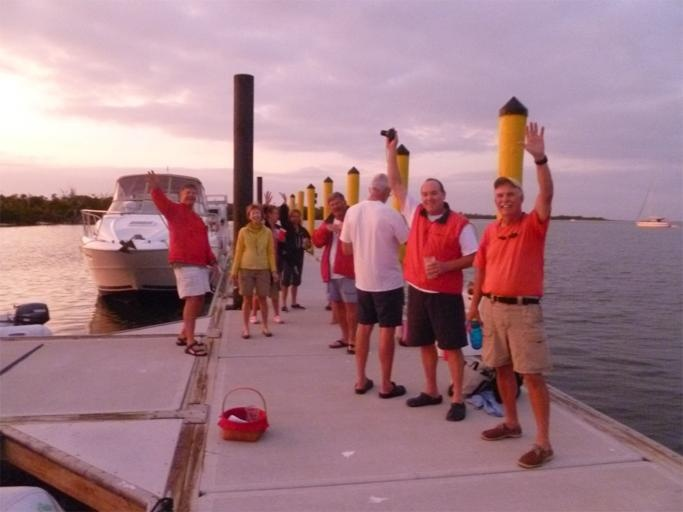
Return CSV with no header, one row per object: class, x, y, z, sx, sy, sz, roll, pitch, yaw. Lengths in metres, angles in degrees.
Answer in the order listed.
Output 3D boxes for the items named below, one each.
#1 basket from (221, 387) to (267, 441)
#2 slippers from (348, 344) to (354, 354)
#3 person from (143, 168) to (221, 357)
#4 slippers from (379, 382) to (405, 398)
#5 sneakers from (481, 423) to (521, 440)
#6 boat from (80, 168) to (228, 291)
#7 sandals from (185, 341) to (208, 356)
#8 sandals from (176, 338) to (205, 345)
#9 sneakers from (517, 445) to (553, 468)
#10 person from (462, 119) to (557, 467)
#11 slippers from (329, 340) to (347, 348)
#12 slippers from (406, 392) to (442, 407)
basket,-0.867,1.373,5.160,0.439,0.423,0.442,5,4,8
slippers,0.106,1.125,7.082,0.089,0.102,0.271,-1,-4,0
person,-1.867,0.056,6.992,0.690,2.104,0.602,3,10,8
slippers,0.500,1.329,5.869,0.229,0.107,0.127,-3,2,-27
sneakers,1.382,1.531,5.143,0.362,0.151,0.134,1,-6,-5
boat,-4.866,-0.816,16.099,3.031,2.721,7.375,-1,5,-5
sandals,-1.740,1.091,6.939,0.256,0.098,0.159,-1,0,41
sandals,-1.894,1.055,7.195,0.305,0.085,0.127,-3,-4,21
sneakers,1.546,1.610,4.724,0.325,0.125,0.121,-4,-11,-28
person,1.447,0.282,4.832,0.778,2.719,0.915,4,10,13
slippers,-0.058,1.101,7.369,0.204,0.084,0.088,3,-4,-18
slippers,0.792,1.401,5.723,0.340,0.132,0.130,1,-4,-6
